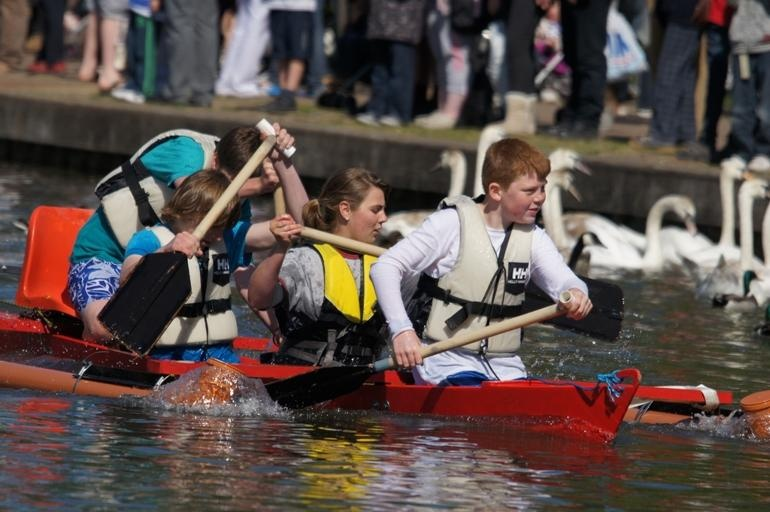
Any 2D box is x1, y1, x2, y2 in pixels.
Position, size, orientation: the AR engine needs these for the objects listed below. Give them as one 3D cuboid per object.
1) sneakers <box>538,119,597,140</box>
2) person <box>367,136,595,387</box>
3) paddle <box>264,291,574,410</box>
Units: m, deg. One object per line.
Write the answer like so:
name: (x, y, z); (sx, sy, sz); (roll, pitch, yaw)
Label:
sneakers: (1.751, -1.232, 13.743); (0.526, 0.204, 0.165); (6, 6, 22)
person: (0.695, 0.306, 9.778); (1.518, 2.071, 1.023); (2, 12, 8)
paddle: (0.172, 0.648, 9.714); (2.426, 0.317, 0.243); (-13, -19, 8)
